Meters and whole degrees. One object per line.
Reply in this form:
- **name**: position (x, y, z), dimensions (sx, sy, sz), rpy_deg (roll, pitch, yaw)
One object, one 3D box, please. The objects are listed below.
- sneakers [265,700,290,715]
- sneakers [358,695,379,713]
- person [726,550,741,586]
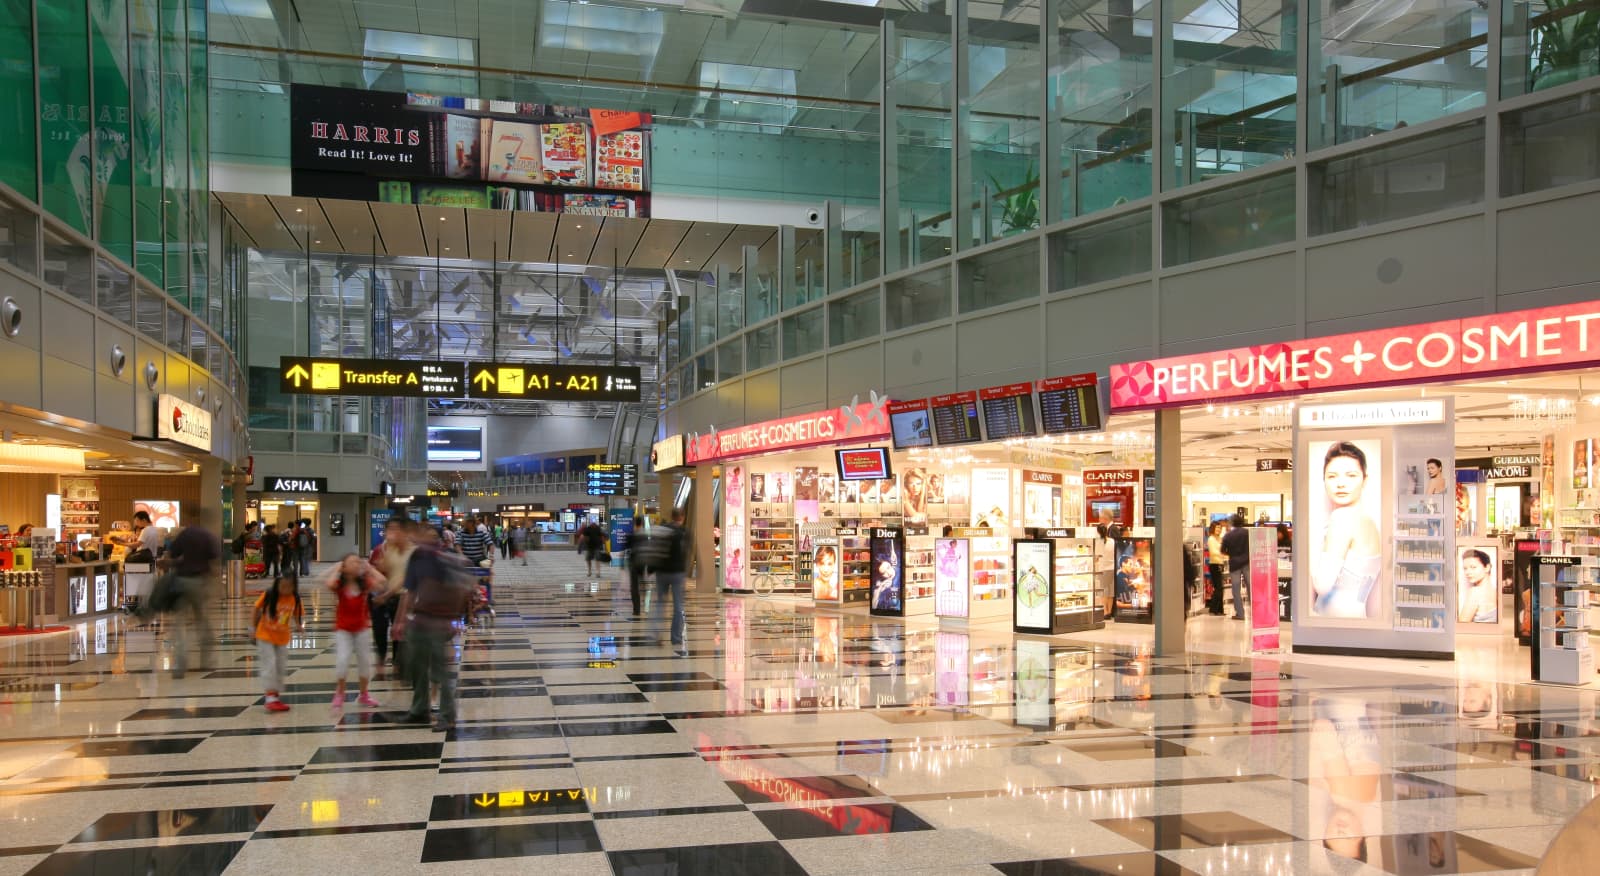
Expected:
- **sneakers**: position (-7.124, 3.645, 16.204), dimensions (0.179, 0.125, 0.318), rpy_deg (6, -13, -40)
- **sneakers**: position (-5.912, 3.643, 16.382), dimensions (0.447, 0.260, 0.153), rpy_deg (-5, -7, 32)
- **person**: position (-1.647, 3.269, 29.826), dimensions (0.414, 0.997, 0.806), rpy_deg (2, -8, -8)
